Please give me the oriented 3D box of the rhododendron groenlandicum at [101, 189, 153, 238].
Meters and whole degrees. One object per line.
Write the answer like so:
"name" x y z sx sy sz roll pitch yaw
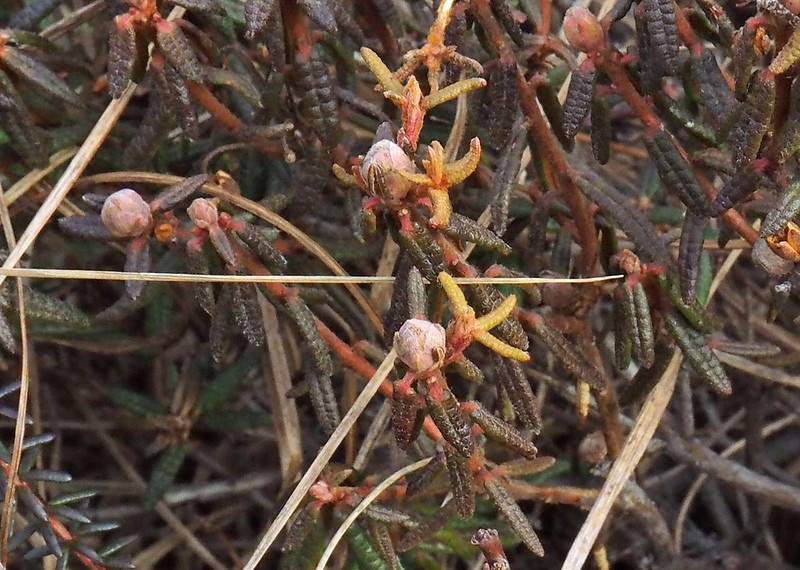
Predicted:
"rhododendron groenlandicum" -0.563 -0.147 1.933 0.079 0.102 0.098 -6 90 16

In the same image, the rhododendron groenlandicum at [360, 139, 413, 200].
"rhododendron groenlandicum" -0.021 -0.224 1.783 0.099 0.091 0.089 -30 60 -24
